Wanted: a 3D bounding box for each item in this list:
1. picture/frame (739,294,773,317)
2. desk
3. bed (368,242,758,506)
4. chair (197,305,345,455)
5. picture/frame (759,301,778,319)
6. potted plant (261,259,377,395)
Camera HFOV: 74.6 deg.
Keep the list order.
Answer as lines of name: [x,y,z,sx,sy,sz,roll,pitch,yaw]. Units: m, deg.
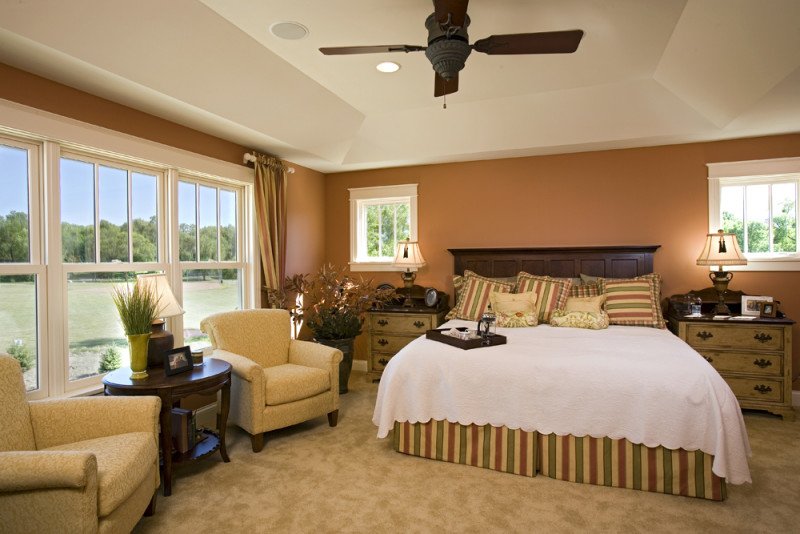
picture/frame: [3.926,0.440,5.761,0.232,0.200,0.018,2,-16,34]
desk: [-2.006,1.377,4.740,0.914,0.849,0.952,-3,2,-43]
bed: [1.817,0.964,5.444,2.485,1.534,2.515,-1,-3,22]
chair: [-1.418,1.103,5.677,1.261,1.294,1.375,0,-2,-41]
picture/frame: [3.994,0.484,5.741,0.226,0.228,0.172,-4,-11,39]
potted plant: [-0.951,0.795,6.978,1.623,1.706,1.425,1,-7,-18]
